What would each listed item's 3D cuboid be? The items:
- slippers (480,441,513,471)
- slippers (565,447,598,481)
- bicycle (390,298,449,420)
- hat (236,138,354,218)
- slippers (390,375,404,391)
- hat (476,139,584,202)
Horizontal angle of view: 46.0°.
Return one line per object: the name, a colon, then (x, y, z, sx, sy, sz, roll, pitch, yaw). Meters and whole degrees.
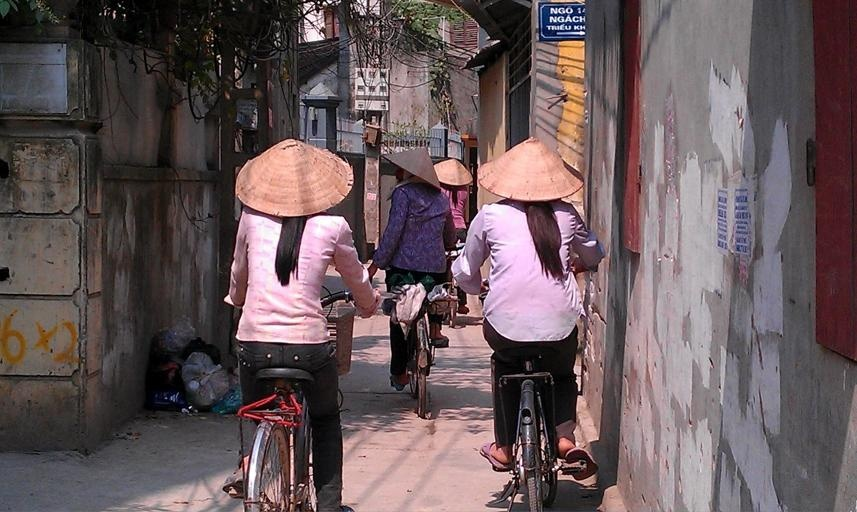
slippers: (0.507, 1.578, 7.950, 0.125, 0.101, 0.323, 8, 19, -27)
slippers: (1.111, 1.550, 7.543, 0.272, 0.179, 0.125, 13, 15, 29)
bicycle: (-0.064, 0.977, 10.470, 0.420, 1.176, 1.101, 1, 7, 1)
hat: (-1.001, -0.631, 7.280, 1.013, 0.419, 1.070, -4, 14, -41)
slippers: (-0.345, 1.355, 10.792, 0.135, 0.204, 0.190, -6, -2, -8)
hat: (0.726, -0.616, 7.627, 0.542, 0.259, 0.566, 18, 31, 24)
